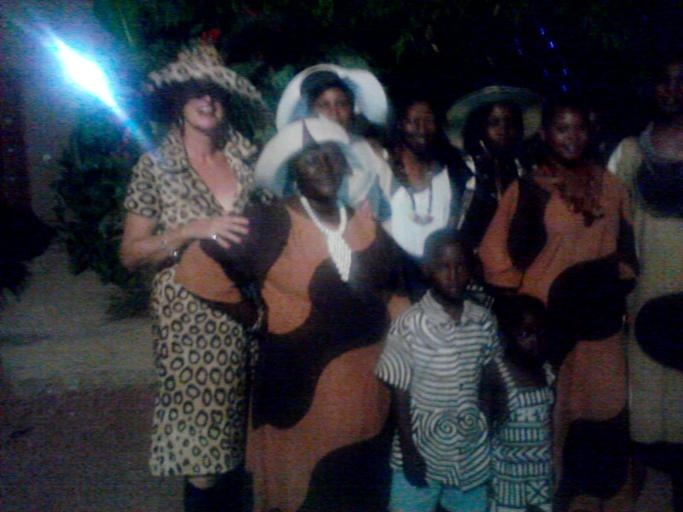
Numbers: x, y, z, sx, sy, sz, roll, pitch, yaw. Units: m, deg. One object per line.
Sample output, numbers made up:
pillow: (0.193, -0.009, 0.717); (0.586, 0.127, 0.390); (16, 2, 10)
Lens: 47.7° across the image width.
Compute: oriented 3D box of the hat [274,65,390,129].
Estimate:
hat: (-0.082, -1.159, 5.688); (0.840, 0.488, 0.202); (-10, 25, -4)

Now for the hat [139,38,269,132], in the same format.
hat: (-0.968, -1.242, 5.597); (0.836, 0.573, 0.420); (6, 17, -7)
